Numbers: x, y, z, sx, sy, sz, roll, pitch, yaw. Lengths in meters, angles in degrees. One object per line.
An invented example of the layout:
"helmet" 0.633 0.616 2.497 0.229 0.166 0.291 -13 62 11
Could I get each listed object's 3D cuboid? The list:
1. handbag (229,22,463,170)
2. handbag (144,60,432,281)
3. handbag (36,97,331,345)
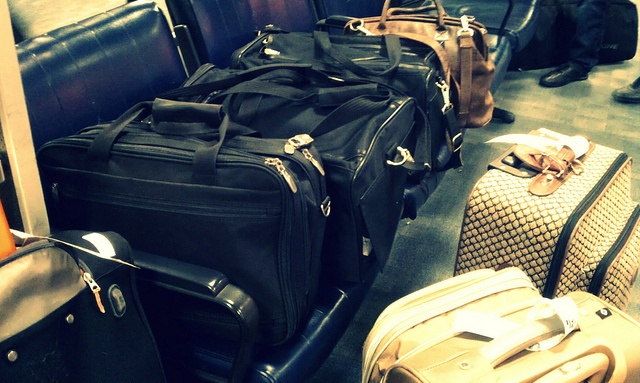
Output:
"handbag" 0.127 -0.397 2.392 0.870 0.398 0.503 16 48 19
"handbag" 0.063 -0.184 2.243 0.844 0.557 0.831 12 37 16
"handbag" -0.430 0.113 1.769 0.715 0.558 0.276 15 34 17
